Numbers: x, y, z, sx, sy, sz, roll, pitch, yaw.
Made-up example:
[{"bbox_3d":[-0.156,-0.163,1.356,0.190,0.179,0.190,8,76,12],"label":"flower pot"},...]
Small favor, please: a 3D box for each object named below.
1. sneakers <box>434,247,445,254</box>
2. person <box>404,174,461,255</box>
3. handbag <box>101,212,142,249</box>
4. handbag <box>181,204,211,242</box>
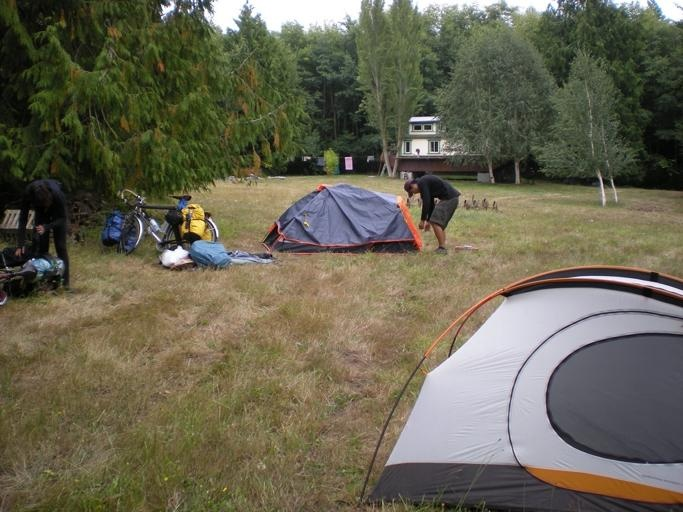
[{"bbox_3d":[1.996,-0.089,11.074,0.207,0.105,0.095,6,10,28],"label":"sneakers"},{"bbox_3d":[1.884,-0.843,11.176,0.971,1.559,1.292,2,11,15],"label":"person"},{"bbox_3d":[-4.248,-0.381,10.810,0.723,0.947,0.612,-1,-10,0],"label":"handbag"},{"bbox_3d":[-2.939,-0.605,11.030,0.517,1.144,0.832,-3,2,-5],"label":"handbag"}]
